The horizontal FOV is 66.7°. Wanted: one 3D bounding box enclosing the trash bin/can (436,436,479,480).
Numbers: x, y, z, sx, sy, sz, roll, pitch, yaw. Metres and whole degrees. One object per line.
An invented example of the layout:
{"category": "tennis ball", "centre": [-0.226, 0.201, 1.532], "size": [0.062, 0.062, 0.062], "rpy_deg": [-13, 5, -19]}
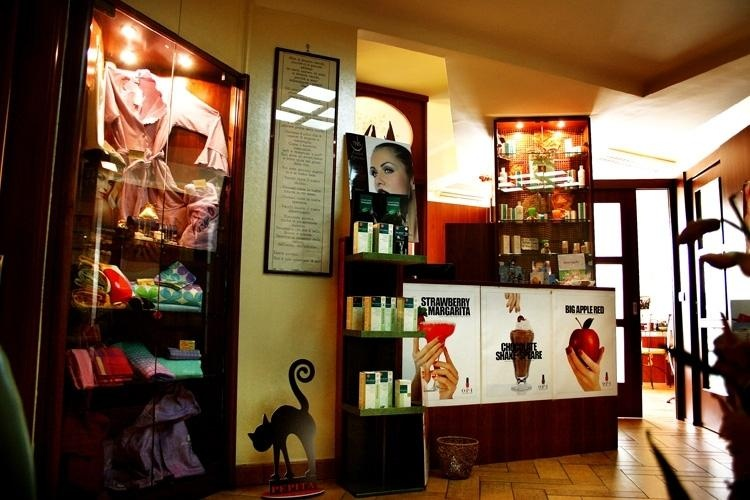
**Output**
{"category": "trash bin/can", "centre": [0.658, 1.681, 4.613], "size": [0.318, 0.326, 0.282], "rpy_deg": [2, 1, 5]}

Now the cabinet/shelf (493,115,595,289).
{"category": "cabinet/shelf", "centre": [2.092, -0.353, 7.201], "size": [1.154, 2.259, 0.652], "rpy_deg": [1, -20, 10]}

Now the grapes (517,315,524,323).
{"category": "grapes", "centre": [1.298, 0.626, 5.077], "size": [0.047, 0.067, 0.021], "rpy_deg": [-1, -2, -7]}

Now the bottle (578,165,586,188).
{"category": "bottle", "centre": [2.491, -0.888, 6.862], "size": [0.093, 0.251, 0.102], "rpy_deg": [2, 0, 0]}

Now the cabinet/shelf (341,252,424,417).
{"category": "cabinet/shelf", "centre": [0.043, 0.617, 4.427], "size": [0.570, 1.145, 0.426], "rpy_deg": [2, 0, -18]}
